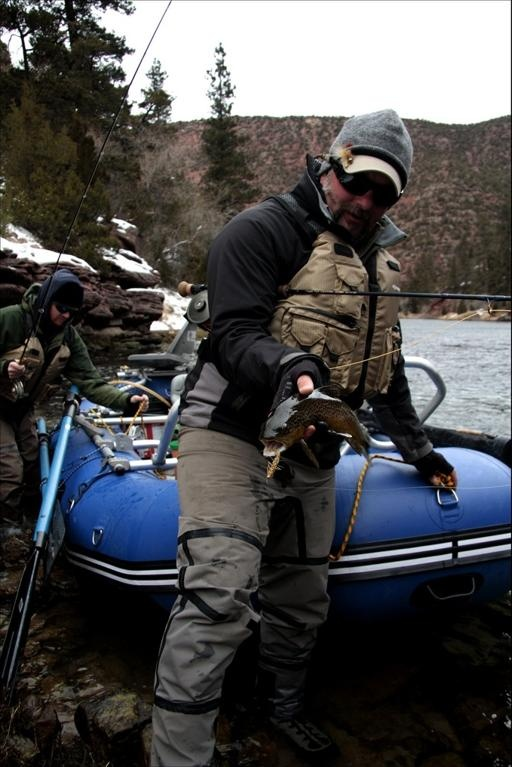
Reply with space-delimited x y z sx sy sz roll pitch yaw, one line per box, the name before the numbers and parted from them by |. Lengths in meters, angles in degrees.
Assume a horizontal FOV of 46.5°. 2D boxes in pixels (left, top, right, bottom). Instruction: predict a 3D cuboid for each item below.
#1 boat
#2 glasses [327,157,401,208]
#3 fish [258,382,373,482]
boat | 0.080 0.499 2.315 1.552 0.489 1.134 1 -6 -1
glasses | 0.266 -0.580 1.647 0.182 0.090 0.200 -1 20 -31
fish | 0.158 0.090 1.205 0.357 0.151 0.061 -1 7 -35
